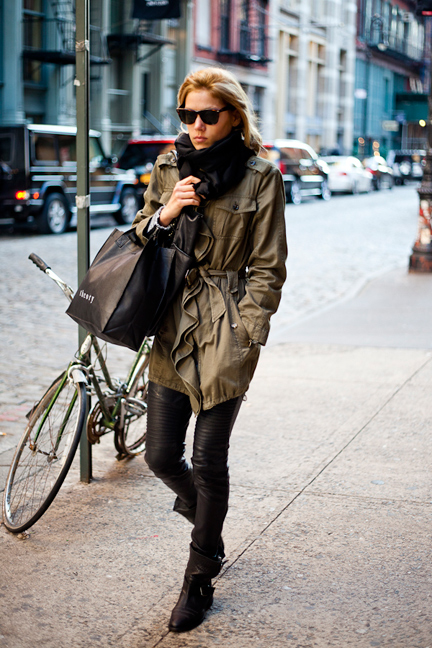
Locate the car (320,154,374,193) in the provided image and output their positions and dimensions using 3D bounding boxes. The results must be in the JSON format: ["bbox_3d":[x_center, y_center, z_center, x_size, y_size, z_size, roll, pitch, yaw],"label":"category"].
[{"bbox_3d":[5.262,-6.011,26.987,2.023,1.445,4.507,2,12,20],"label":"car"}]

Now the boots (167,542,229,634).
[{"bbox_3d":[-0.070,0.787,2.069,0.120,0.209,0.295,12,18,19],"label":"boots"}]

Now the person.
[{"bbox_3d":[-0.007,0.080,2.078,0.447,1.687,0.467,-2,10,-12],"label":"person"}]

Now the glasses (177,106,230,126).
[{"bbox_3d":[-0.052,-0.608,1.947,0.169,0.061,0.077,4,10,23],"label":"glasses"}]
